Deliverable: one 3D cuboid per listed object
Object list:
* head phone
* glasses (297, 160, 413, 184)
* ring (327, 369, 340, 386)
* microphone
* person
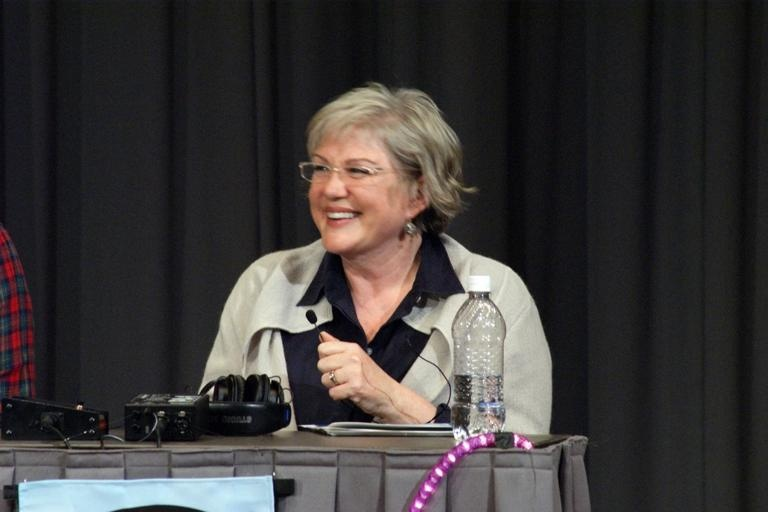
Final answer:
[{"bbox_3d":[-0.405,0.446,3.284,0.174,0.106,0.219,2,6,1],"label":"head phone"},{"bbox_3d":[-0.142,-0.290,3.687,0.328,0.080,0.099,-3,-9,23],"label":"glasses"},{"bbox_3d":[-0.155,0.378,3.403,0.015,0.041,0.033,-6,-1,-42],"label":"ring"},{"bbox_3d":[-0.017,0.385,3.469,0.380,0.277,0.141,1,-8,-3],"label":"microphone"},{"bbox_3d":[-0.024,0.083,3.918,1.356,1.261,0.814,5,6,28],"label":"person"}]
